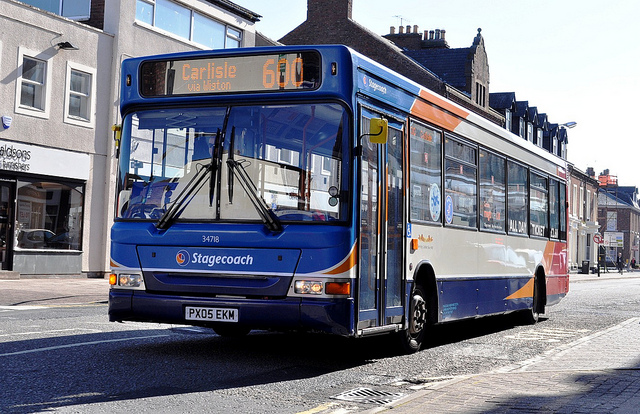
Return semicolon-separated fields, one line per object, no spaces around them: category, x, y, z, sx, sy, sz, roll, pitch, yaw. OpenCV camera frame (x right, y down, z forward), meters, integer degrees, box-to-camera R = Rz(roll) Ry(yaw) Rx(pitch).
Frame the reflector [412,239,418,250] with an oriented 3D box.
reflector;1.590;0.640;9.371;0.089;0.171;0.172;-4;-6;29

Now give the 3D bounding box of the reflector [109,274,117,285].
reflector;-3.178;1.116;8.533;0.136;0.185;0.252;1;-2;-22

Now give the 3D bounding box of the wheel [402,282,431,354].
wheel;1.725;1.949;9.725;0.524;1.363;0.645;-1;-1;18

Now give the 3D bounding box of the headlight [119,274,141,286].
headlight;-2.866;1.099;8.360;0.212;0.144;0.223;-2;-9;20

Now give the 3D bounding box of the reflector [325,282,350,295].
reflector;0.239;1.140;7.758;0.351;0.176;0.038;3;-4;-13

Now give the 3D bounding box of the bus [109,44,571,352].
bus;0.372;0.163;9.450;2.823;2.582;7.628;-3;-6;32
